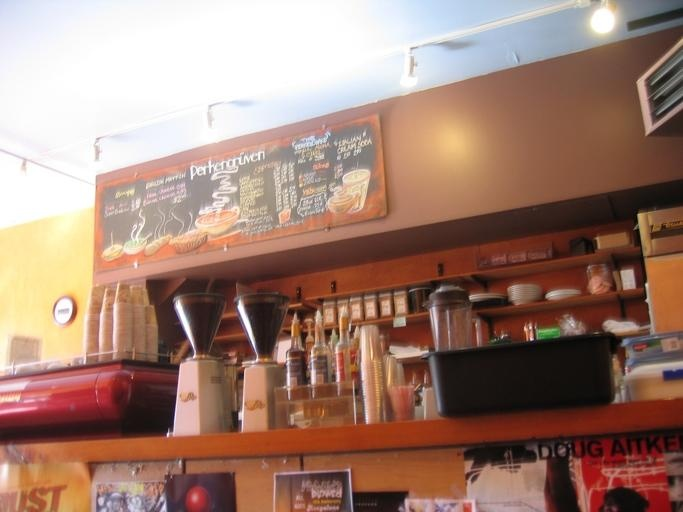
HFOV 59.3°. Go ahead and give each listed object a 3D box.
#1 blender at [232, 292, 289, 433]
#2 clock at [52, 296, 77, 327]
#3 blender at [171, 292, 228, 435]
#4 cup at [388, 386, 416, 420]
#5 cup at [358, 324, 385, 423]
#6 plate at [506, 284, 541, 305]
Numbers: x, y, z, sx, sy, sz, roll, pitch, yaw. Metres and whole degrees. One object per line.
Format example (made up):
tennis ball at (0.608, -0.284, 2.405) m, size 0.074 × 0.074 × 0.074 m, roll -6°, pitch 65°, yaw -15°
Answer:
blender at (-0.244, 0.324, 1.906) m, size 0.172 × 0.450 × 0.341 m, roll -3°, pitch -16°, yaw -9°
clock at (-2.798, 0.555, 6.077) m, size 0.317 × 0.314 × 0.051 m, roll -13°, pitch -17°, yaw 26°
blender at (-0.445, 0.341, 1.940) m, size 0.206 × 0.458 × 0.226 m, roll 5°, pitch -19°, yaw -32°
cup at (0.196, 0.464, 1.886) m, size 0.077 × 0.104 × 0.165 m, roll -10°, pitch -16°, yaw 15°
cup at (0.112, 0.367, 1.877) m, size 0.112 × 0.297 × 0.072 m, roll 6°, pitch -19°, yaw -36°
plate at (1.347, 0.297, 4.490) m, size 0.168 × 0.086 × 0.177 m, roll 4°, pitch -13°, yaw -14°
